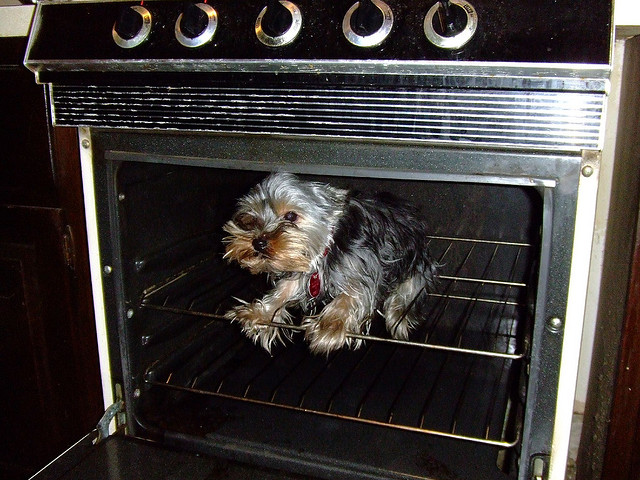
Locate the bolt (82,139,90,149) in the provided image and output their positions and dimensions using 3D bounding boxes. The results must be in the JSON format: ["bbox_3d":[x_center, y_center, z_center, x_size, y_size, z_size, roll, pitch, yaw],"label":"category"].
[{"bbox_3d":[-0.484,-0.197,1.086,0.015,0.016,0.004,7,13,15],"label":"bolt"}]

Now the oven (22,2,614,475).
[{"bbox_3d":[0.093,0.034,1.485,1.020,0.991,1.099,3,14,13],"label":"oven"}]

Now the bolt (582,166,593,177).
[{"bbox_3d":[0.452,-0.115,0.890,0.016,0.016,0.009,11,-14,-16],"label":"bolt"}]

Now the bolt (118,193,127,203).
[{"bbox_3d":[-0.421,-0.089,1.118,0.005,0.021,0.020,6,6,40],"label":"bolt"}]

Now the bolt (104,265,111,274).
[{"bbox_3d":[-0.460,0.065,1.139,0.014,0.015,0.003,3,7,19],"label":"bolt"}]

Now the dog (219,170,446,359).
[{"bbox_3d":[0.070,0.074,1.548,0.712,0.457,0.415,0,3,-43],"label":"dog"}]

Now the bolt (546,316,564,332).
[{"bbox_3d":[0.424,0.152,0.949,0.026,0.029,0.007,0,4,19],"label":"bolt"}]
